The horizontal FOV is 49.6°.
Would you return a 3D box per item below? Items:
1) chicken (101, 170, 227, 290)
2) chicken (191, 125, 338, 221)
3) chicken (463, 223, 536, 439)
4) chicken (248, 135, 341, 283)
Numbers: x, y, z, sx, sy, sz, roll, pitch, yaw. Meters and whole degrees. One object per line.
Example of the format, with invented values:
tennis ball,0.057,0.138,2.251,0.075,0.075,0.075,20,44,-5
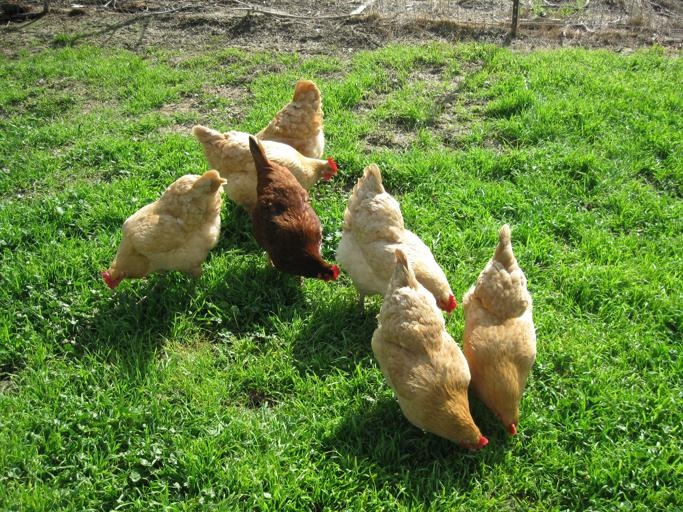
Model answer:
chicken,-1.908,-0.327,8.104,1.249,1.242,0.425,-2,25,-15
chicken,-0.959,-1.232,8.981,1.043,1.311,1.772,-7,31,-24
chicken,1.613,0.737,7.549,0.691,2.070,1.292,1,-16,13
chicken,-0.576,-0.493,8.338,0.493,1.424,0.929,-27,5,-19
